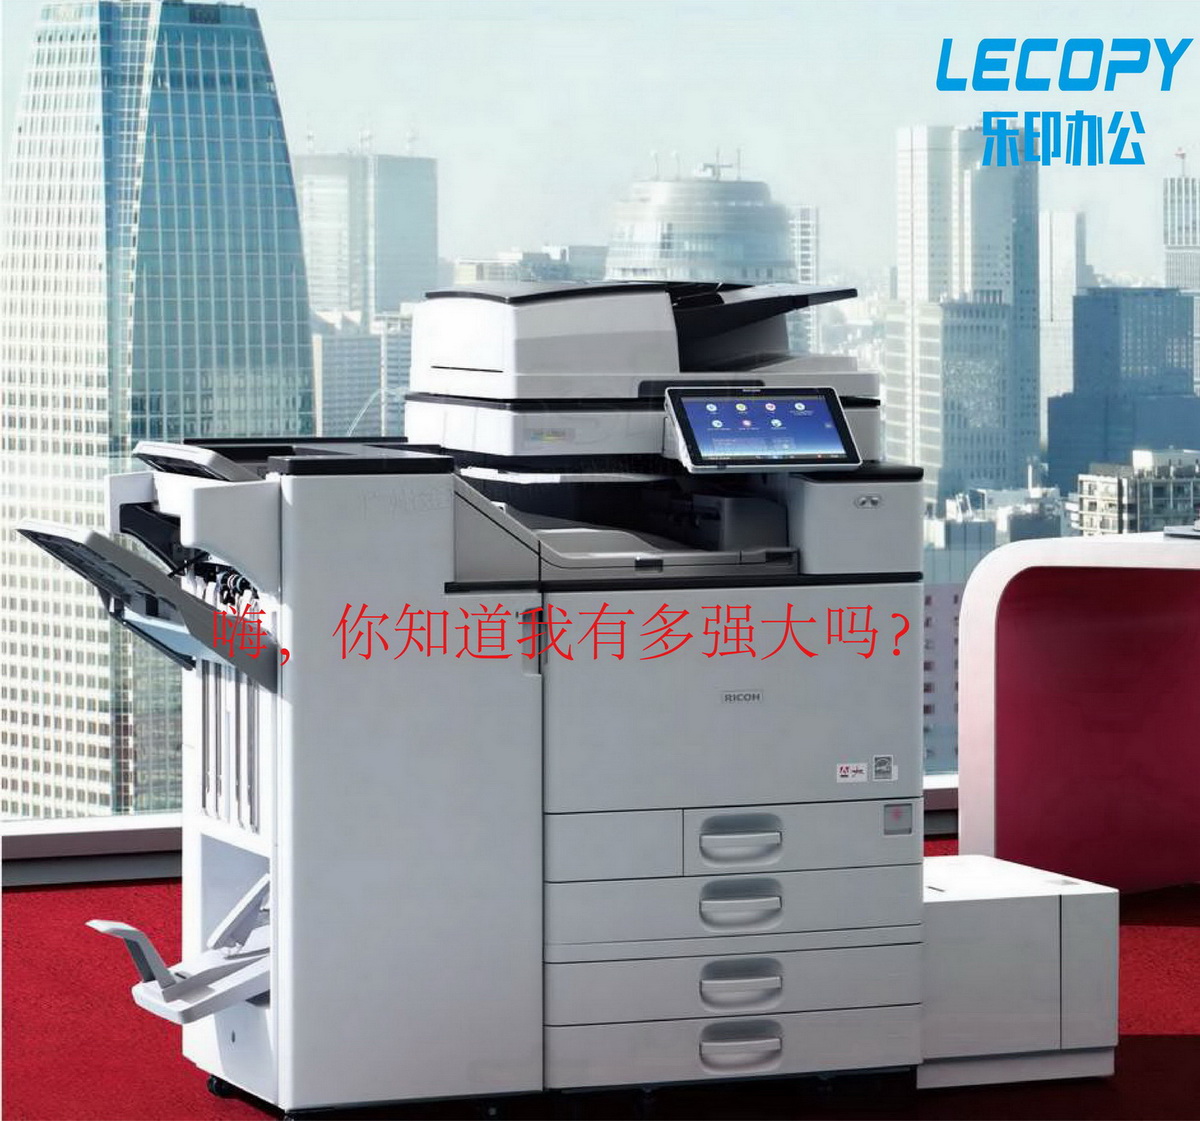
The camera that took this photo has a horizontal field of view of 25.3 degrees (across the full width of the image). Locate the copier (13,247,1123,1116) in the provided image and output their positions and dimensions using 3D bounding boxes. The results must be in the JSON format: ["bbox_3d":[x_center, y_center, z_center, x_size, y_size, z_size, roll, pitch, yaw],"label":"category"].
[{"bbox_3d":[-0.175,0.315,5.941,1.692,1.410,0.699,-1,7,-16],"label":"copier"}]
